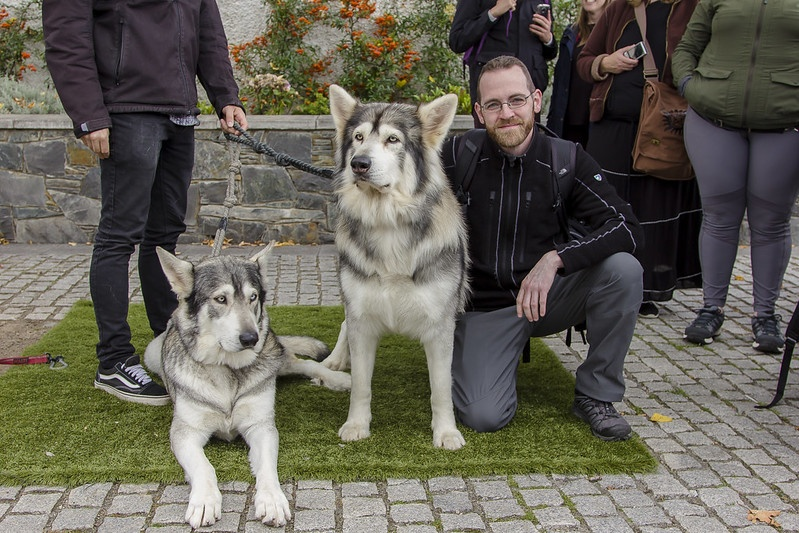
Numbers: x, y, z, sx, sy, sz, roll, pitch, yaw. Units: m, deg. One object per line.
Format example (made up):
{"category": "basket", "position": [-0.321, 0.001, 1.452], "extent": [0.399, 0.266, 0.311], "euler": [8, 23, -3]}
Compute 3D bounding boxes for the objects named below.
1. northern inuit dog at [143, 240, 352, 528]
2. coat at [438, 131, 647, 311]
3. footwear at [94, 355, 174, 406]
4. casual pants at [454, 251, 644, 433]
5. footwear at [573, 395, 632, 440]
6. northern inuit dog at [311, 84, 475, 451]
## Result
{"category": "northern inuit dog", "position": [-1.084, 0.635, 4.920], "extent": [1.222, 0.989, 1.793], "euler": [-2, 22, -7]}
{"category": "coat", "position": [0.991, -0.297, 5.277], "extent": [1.510, 1.054, 0.774], "euler": [6, 36, 16]}
{"category": "footwear", "position": [-2.035, 0.858, 5.585], "extent": [0.702, 0.316, 0.261], "euler": [12, 17, 10]}
{"category": "casual pants", "position": [1.165, 0.505, 5.748], "extent": [1.526, 1.582, 1.299], "euler": [-3, 0, -5]}
{"category": "footwear", "position": [1.470, 1.089, 5.234], "extent": [0.236, 0.227, 0.390], "euler": [-6, 15, -20]}
{"category": "northern inuit dog", "position": [-0.011, 0.012, 4.970], "extent": [0.898, 2.460, 0.640], "euler": [-1, 15, -2]}
